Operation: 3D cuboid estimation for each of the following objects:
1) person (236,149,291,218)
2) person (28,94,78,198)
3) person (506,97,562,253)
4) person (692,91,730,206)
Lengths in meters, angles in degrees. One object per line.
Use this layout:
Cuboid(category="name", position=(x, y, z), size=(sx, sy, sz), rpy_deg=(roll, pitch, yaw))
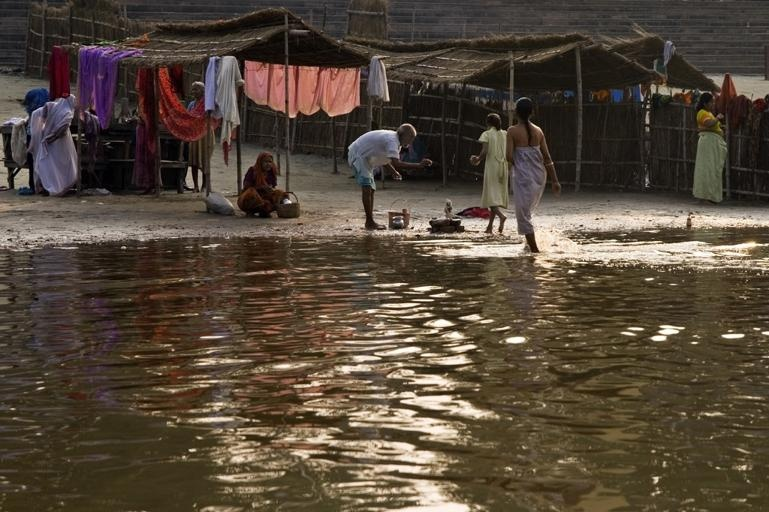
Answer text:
Cuboid(category="person", position=(-2.052, -1.208, 14.321), size=(0.747, 1.024, 0.509), rpy_deg=(-6, 14, -27))
Cuboid(category="person", position=(-6.306, -2.162, 16.651), size=(0.856, 1.886, 0.866), rpy_deg=(-4, 14, -18))
Cuboid(category="person", position=(1.825, -1.036, 10.774), size=(0.669, 1.877, 0.784), rpy_deg=(2, 13, 10))
Cuboid(category="person", position=(6.302, -2.132, 16.842), size=(0.573, 2.130, 0.805), rpy_deg=(4, 14, 17))
